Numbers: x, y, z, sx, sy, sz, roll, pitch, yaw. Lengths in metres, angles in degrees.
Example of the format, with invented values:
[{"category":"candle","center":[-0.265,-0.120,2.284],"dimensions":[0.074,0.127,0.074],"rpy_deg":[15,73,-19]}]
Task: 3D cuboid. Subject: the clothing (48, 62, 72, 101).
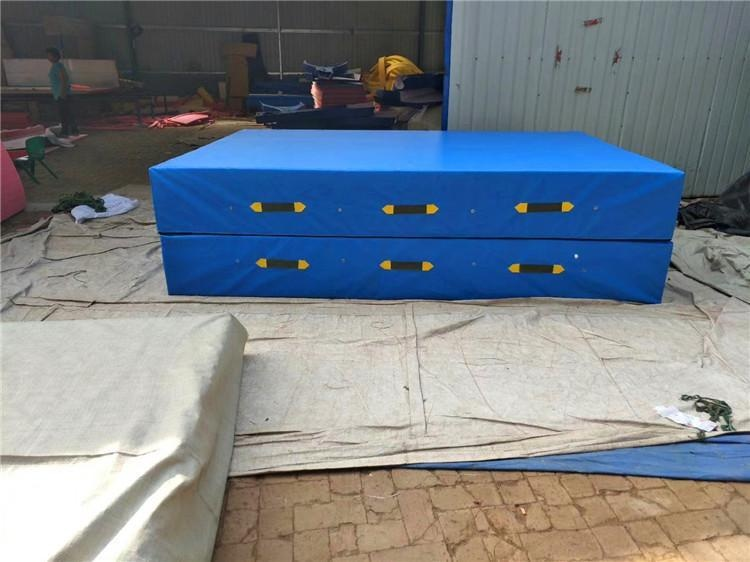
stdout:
[{"category":"clothing","center":[-5.781,-3.660,9.405],"dimensions":[0.320,0.635,0.568],"rpy_deg":[-16,34,-24]}]
